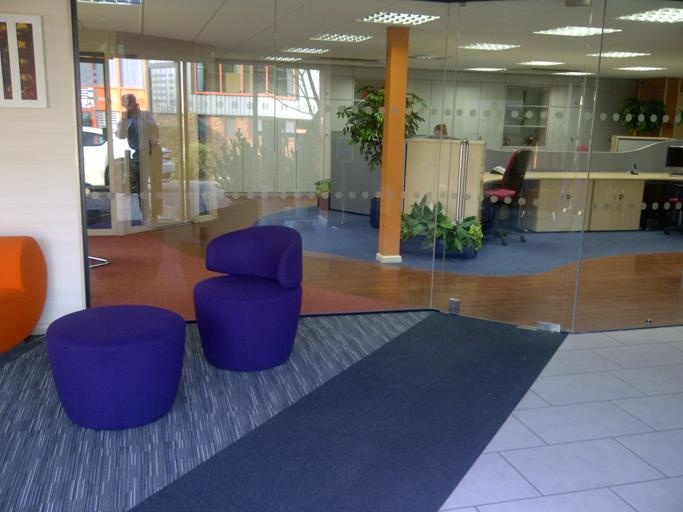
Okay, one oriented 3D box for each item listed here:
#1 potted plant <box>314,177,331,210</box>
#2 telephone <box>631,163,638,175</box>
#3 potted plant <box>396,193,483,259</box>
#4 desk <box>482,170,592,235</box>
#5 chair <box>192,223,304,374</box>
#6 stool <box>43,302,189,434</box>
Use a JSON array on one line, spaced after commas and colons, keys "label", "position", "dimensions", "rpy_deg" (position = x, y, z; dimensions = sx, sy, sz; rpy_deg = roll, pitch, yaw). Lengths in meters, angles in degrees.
[{"label": "potted plant", "position": [-0.166, -0.585, 4.326], "dimensions": [0.206, 0.289, 0.205], "rpy_deg": [1, 17, 1]}, {"label": "telephone", "position": [2.710, -0.800, 4.255], "dimensions": [0.094, 0.103, 0.022], "rpy_deg": [-4, 13, -24]}, {"label": "potted plant", "position": [0.981, -0.235, 4.502], "dimensions": [0.586, 0.665, 0.306], "rpy_deg": [5, 10, 16]}, {"label": "desk", "position": [1.906, -0.489, 4.374], "dimensions": [0.680, 0.720, 0.484], "rpy_deg": [-1, 10, -2]}, {"label": "chair", "position": [-0.680, 0.269, 3.714], "dimensions": [0.891, 1.220, 0.985], "rpy_deg": [6, 8, 34]}, {"label": "stool", "position": [-1.443, 0.691, 3.002], "dimensions": [0.770, 0.608, 0.805], "rpy_deg": [12, 16, 22]}]
